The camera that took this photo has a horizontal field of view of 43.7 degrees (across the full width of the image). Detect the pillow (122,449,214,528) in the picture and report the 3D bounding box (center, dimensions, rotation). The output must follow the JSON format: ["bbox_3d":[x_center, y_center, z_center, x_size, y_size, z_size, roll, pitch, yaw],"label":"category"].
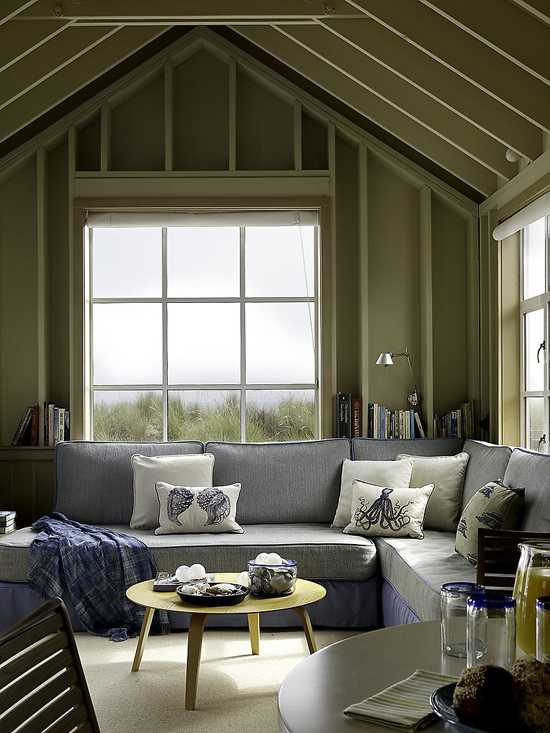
[{"bbox_3d":[-0.587,0.679,3.734,0.282,0.342,0.127,0,-35,-9],"label":"pillow"}]

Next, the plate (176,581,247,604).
[{"bbox_3d":[-0.237,0.831,2.540,0.257,0.061,0.205,0,-1,3],"label":"plate"}]

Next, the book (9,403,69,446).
[{"bbox_3d":[-1.537,0.386,4.473,0.319,0.422,0.273,0,-7,-9],"label":"book"}]
